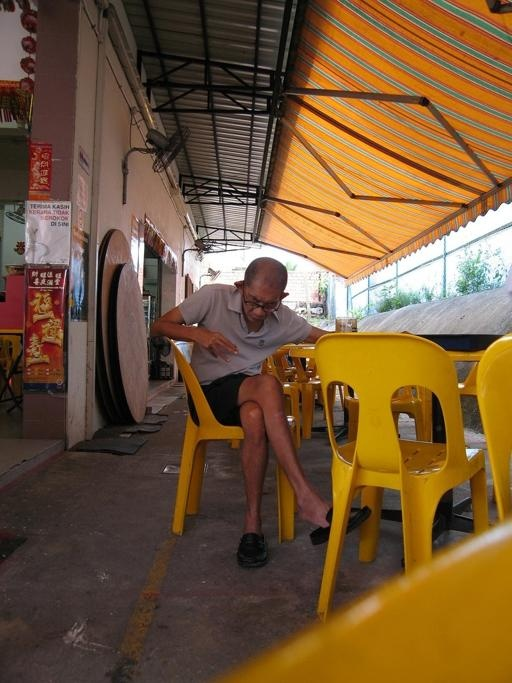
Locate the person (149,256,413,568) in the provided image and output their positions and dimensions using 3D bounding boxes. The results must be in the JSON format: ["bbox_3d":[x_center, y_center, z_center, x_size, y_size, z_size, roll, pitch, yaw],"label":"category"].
[{"bbox_3d":[0.077,0.310,2.147,1.072,0.996,1.136,-2,32,-25],"label":"person"}]

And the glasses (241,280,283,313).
[{"bbox_3d":[0.025,-0.206,1.951,0.118,0.128,0.074,5,39,-12],"label":"glasses"}]

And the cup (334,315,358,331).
[{"bbox_3d":[0.491,-0.101,2.439,0.083,0.058,0.088,0,0,0],"label":"cup"}]

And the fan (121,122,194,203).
[{"bbox_3d":[-1.260,-2.180,5.551,0.735,0.988,0.629,-1,14,-31],"label":"fan"}]
